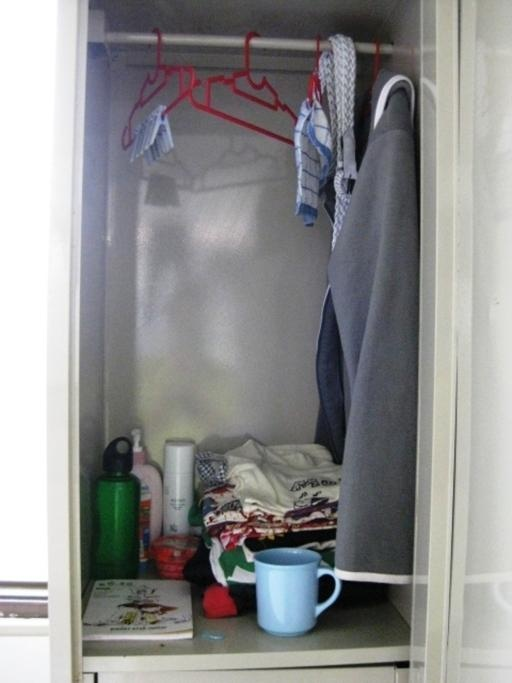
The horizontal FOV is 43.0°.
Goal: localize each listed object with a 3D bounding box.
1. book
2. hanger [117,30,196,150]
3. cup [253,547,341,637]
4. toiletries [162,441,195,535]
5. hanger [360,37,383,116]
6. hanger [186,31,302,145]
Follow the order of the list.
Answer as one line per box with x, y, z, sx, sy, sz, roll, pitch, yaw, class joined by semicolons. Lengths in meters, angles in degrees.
-0.204;0.452;1.131;0.179;0.042;0.258;2;7;-8;book
-0.217;-0.558;1.393;0.014;0.195;0.351;-1;-3;-33;hanger
0.054;0.413;1.089;0.144;0.124;0.098;6;-14;-25;cup
-0.168;0.317;1.431;0.063;0.200;0.073;1;-5;-3;toiletries
0.236;-0.521;1.274;0.026;0.119;0.066;2;11;1;hanger
-0.043;-0.529;1.373;0.257;0.242;0.473;3;6;2;hanger
